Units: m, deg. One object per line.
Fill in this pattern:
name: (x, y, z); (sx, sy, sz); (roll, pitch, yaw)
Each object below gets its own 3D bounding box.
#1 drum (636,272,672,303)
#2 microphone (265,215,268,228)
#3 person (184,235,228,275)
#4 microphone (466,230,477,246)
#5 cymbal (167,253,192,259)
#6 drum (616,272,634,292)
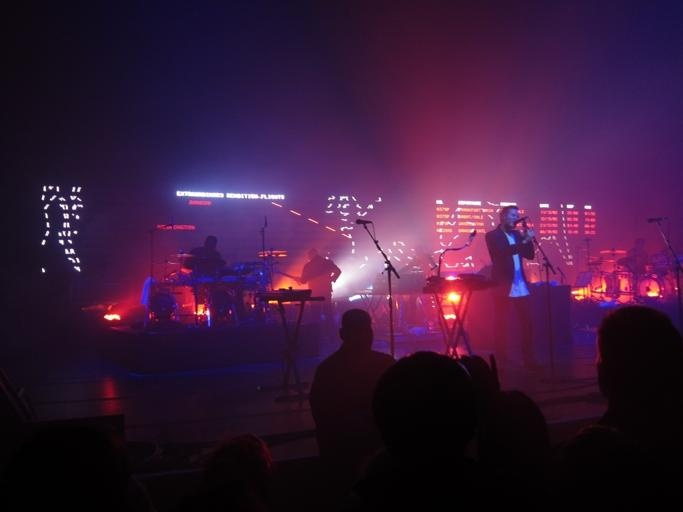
drum: (8.325, 0.742, 15.206); (0.692, 0.601, 1.090); (-3, -3, -14)
microphone: (-2.303, -1.076, 17.971); (0.061, 0.331, 0.290); (-3, -3, -16)
person: (-3.186, -0.015, 13.499); (0.943, 0.972, 0.710); (-3, -3, -13)
microphone: (3.286, -0.469, 14.629); (0.167, 0.154, 0.913); (25, 32, 3)
cymbal: (-4.145, -0.015, 14.704); (0.445, 0.200, 0.428); (0, -1, -27)
drum: (7.965, 0.716, 16.260); (0.409, 0.722, 0.429); (2, -7, 0)
